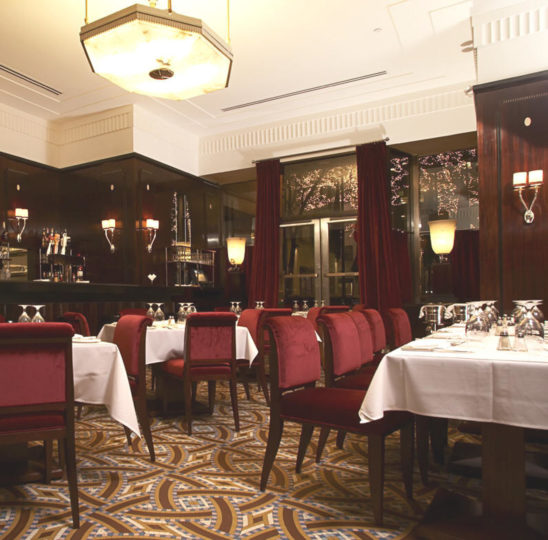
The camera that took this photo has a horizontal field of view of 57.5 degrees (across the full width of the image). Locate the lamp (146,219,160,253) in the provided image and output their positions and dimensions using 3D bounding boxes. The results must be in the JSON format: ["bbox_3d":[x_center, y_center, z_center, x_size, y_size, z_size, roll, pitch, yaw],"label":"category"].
[{"bbox_3d":[-1.940,-0.545,8.072,0.099,0.545,0.354,-1,-2,20],"label":"lamp"}]

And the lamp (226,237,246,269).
[{"bbox_3d":[-0.680,-0.311,8.980,0.440,0.619,0.443,0,-4,-12],"label":"lamp"}]

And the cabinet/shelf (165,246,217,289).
[{"bbox_3d":[-1.457,-0.112,8.703,0.338,0.767,1.179,-1,-2,21],"label":"cabinet/shelf"}]

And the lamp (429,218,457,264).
[{"bbox_3d":[2.571,-0.451,7.638,0.250,0.632,0.349,1,-2,-40],"label":"lamp"}]

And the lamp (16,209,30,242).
[{"bbox_3d":[-3.947,-0.704,7.868,0.092,0.541,0.286,-1,-2,15],"label":"lamp"}]

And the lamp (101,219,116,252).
[{"bbox_3d":[-2.648,-0.549,7.967,0.276,0.523,0.077,-2,-2,29],"label":"lamp"}]

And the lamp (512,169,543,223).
[{"bbox_3d":[2.332,-0.673,4.566,0.249,0.507,0.089,-2,-2,30],"label":"lamp"}]
